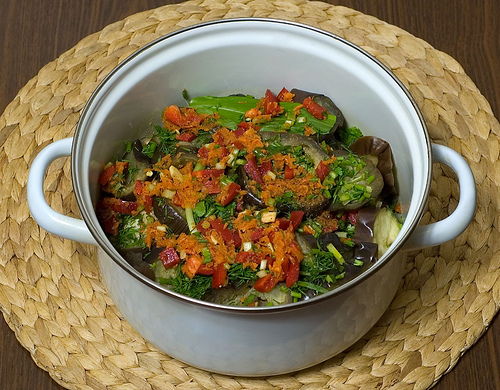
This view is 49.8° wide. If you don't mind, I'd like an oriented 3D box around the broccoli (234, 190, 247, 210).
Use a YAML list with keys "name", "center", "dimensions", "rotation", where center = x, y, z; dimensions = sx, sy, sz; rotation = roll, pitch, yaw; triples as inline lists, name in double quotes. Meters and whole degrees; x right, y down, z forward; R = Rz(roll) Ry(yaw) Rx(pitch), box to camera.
- name: "broccoli"
  center: [-0.052, 0.019, 2.457]
  dimensions: [0.064, 0.021, 0.070]
  rotation: [10, 79, -1]

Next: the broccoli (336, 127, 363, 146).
- name: "broccoli"
  center: [0.524, -0.304, 2.832]
  dimensions: [0.112, 0.044, 0.110]
  rotation: [-42, 83, 3]

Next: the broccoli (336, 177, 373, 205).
- name: "broccoli"
  center: [0.475, -0.023, 2.497]
  dimensions: [0.151, 0.049, 0.114]
  rotation: [1, 82, -9]

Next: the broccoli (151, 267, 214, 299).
- name: "broccoli"
  center: [-0.295, 0.363, 2.374]
  dimensions: [0.263, 0.201, 0.082]
  rotation: [-6, 72, 3]

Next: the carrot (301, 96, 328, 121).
- name: "carrot"
  center: [0.318, -0.435, 2.755]
  dimensions: [0.134, 0.045, 0.083]
  rotation: [43, 63, 16]
